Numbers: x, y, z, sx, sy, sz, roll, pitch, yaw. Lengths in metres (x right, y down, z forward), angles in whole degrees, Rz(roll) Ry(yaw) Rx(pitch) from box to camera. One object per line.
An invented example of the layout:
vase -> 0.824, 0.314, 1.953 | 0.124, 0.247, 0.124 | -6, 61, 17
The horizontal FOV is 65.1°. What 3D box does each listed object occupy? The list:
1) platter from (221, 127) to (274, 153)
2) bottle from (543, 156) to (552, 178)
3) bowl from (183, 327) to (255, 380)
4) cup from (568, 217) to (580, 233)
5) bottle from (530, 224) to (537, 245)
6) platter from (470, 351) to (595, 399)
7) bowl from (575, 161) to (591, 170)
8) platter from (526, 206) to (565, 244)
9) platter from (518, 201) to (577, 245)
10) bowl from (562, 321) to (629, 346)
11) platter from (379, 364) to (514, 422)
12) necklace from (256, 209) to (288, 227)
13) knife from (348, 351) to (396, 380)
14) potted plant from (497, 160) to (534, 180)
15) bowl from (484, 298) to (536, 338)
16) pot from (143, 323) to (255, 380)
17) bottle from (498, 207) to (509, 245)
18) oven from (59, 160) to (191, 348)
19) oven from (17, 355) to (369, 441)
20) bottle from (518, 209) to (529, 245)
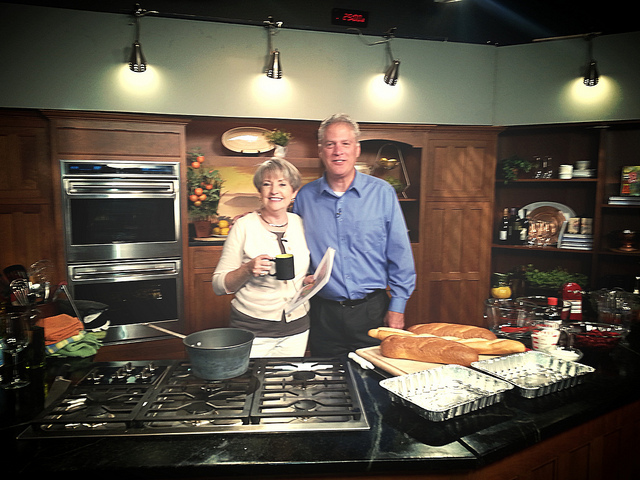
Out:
platter -> -0.687, -0.955, 4.774 | 0.468, 0.252, 0.186 | -1, 7, -7
bottle -> 2.163, -0.699, 4.770 | 0.083, 0.210, 0.148 | 2, 8, 21
bowl -> -0.500, 0.451, 2.053 | 0.276, 0.111, 0.423 | 8, -4, -25
cup -> 2.361, -0.140, 4.663 | 0.085, 0.139, 0.071 | -1, 8, 1
bottle -> 2.063, -0.055, 4.845 | 0.066, 0.187, 0.168 | 2, 7, 21
platter -> 0.851, 0.518, 1.975 | 0.398, 0.043, 0.256 | 2, 9, -39
bowl -> 2.384, -0.682, 4.577 | 0.127, 0.054, 0.097 | -1, 5, -16
platter -> 2.190, -0.170, 4.855 | 0.469, 0.294, 0.105 | 7, 3, 34
platter -> 2.195, -0.150, 4.800 | 0.616, 0.384, 0.074 | -5, 8, 32
bowl -> 1.237, 0.416, 2.227 | 0.192, 0.031, 0.145 | -1, 5, 10
platter -> 0.475, 0.558, 1.841 | 0.406, 0.039, 0.253 | -6, 13, -28
necklace -> -0.265, -0.120, 2.777 | 0.170, 0.093, 0.090 | 0, 7, 2
knife -> 0.198, 0.520, 2.117 | 0.288, 0.024, 0.055 | 15, 27, 39
potted plant -> 1.833, -0.671, 4.791 | 0.321, 0.124, 0.241 | -1, 9, -9
bowl -> 0.944, 0.378, 2.461 | 0.281, 0.104, 0.213 | 1, 0, 11
pot -> -0.496, 0.442, 2.030 | 0.473, 0.103, 0.229 | 0, 2, 37
bottle -> 1.813, -0.127, 4.939 | 0.098, 0.338, 0.118 | 2, 8, 15
oven -> -1.595, 0.111, 4.166 | 0.935, 1.542, 0.254 | -2, 8, -10
oven -> -0.429, 0.566, 1.888 | 1.175, 0.176, 0.429 | 0, 5, -2
bottle -> 1.978, -0.086, 4.868 | 0.091, 0.251, 0.130 | 2, 8, 20
